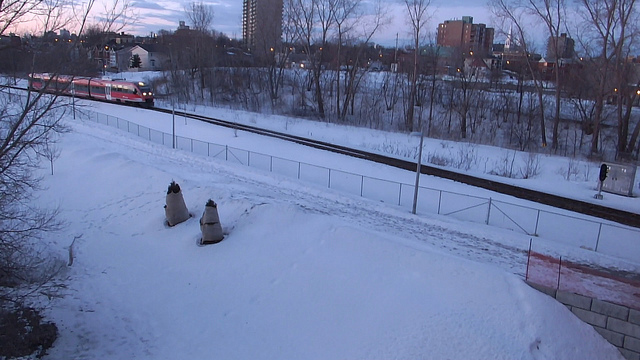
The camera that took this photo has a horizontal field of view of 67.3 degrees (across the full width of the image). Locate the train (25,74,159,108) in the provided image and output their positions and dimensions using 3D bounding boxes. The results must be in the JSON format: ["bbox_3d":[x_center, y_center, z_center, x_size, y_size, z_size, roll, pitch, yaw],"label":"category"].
[{"bbox_3d":[-38.177,-15.868,82.979,22.035,4.642,3.054,10,15,26],"label":"train"}]

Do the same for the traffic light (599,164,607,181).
[{"bbox_3d":[28.358,-0.784,48.639,0.700,1.702,0.356,5,2,-13],"label":"traffic light"}]
